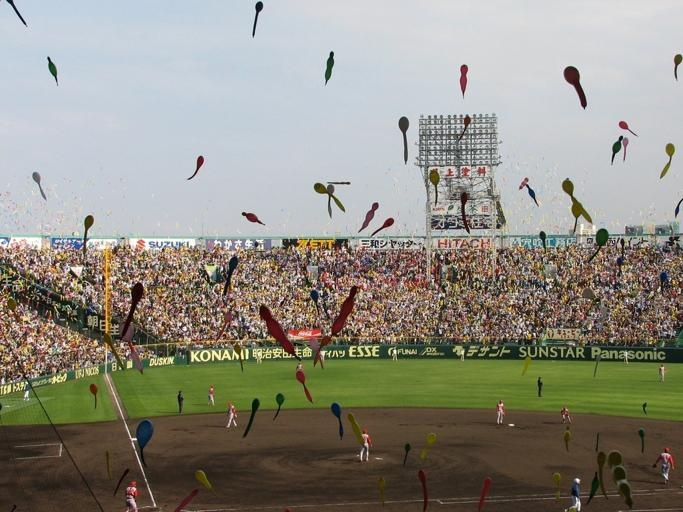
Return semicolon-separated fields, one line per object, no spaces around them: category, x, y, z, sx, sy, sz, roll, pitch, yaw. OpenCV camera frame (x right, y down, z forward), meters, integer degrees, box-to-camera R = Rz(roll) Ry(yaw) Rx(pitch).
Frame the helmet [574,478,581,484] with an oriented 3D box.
helmet;14.709;14.134;86.477;0.489;0.315;0.647;2;5;9
